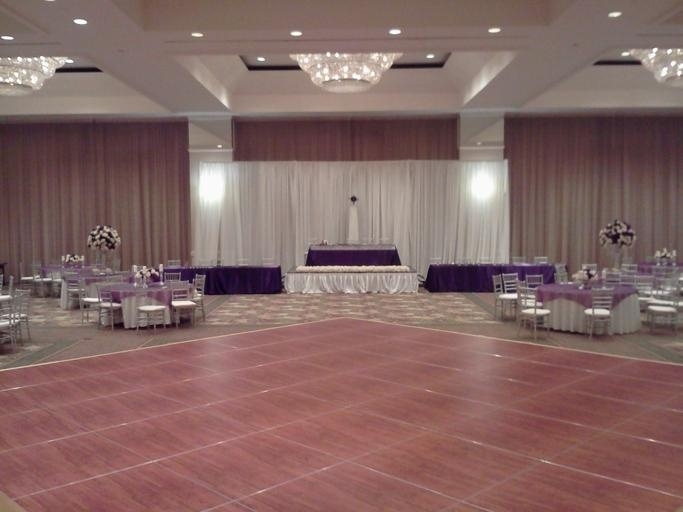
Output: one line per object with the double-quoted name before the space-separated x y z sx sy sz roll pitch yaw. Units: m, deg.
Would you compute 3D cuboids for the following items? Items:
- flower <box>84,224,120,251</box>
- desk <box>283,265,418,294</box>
"flower" -6.739 -0.561 13.992 0.816 0.740 0.853 3 -3 38
"desk" 0.316 0.677 14.220 3.654 0.745 0.388 -1 2 3
